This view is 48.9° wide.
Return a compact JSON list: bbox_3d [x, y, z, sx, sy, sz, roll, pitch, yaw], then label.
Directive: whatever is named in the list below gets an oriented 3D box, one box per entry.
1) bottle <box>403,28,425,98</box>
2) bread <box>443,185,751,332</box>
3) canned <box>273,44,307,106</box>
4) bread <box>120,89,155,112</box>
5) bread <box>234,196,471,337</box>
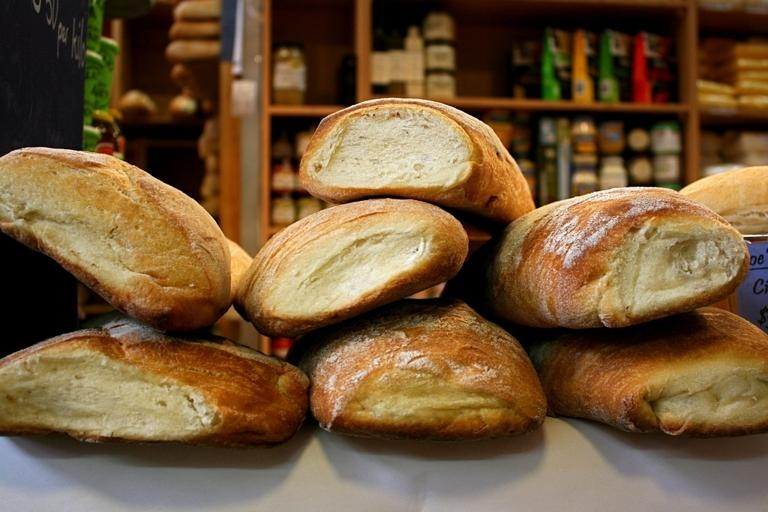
[{"bbox_3d":[0.097,-0.625,2.713,0.064,0.208,0.135,0,22,2],"label":"bottle"},{"bbox_3d":[0.300,0.016,1.196,0.180,0.134,0.379,-5,-7,-26],"label":"bread"},{"bbox_3d":[-0.305,-0.576,2.683,0.107,0.186,0.045,-4,22,-8],"label":"canned"},{"bbox_3d":[-0.980,-0.605,3.337,0.135,0.081,0.119,-8,23,-17],"label":"bread"},{"bbox_3d":[-0.043,-0.005,1.176,0.231,0.119,0.229,-13,-4,-13],"label":"bread"}]
